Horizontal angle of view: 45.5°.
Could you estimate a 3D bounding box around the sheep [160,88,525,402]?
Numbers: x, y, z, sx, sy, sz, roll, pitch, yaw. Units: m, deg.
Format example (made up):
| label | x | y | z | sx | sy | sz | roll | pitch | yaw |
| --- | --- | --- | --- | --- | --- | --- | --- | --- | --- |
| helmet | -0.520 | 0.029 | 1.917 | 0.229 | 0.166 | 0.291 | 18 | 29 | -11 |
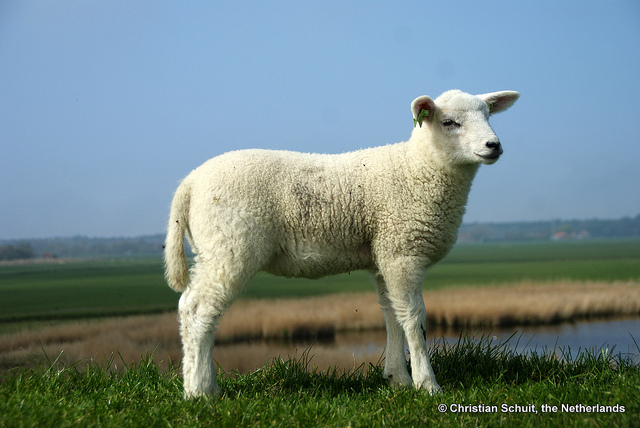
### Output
| label | x | y | z | sx | sy | sz | roll | pitch | yaw |
| --- | --- | --- | --- | --- | --- | --- | --- | --- | --- |
| sheep | 0.257 | 0.377 | 9.399 | 3.963 | 3.801 | 1.540 | 0 | 0 | -7 |
